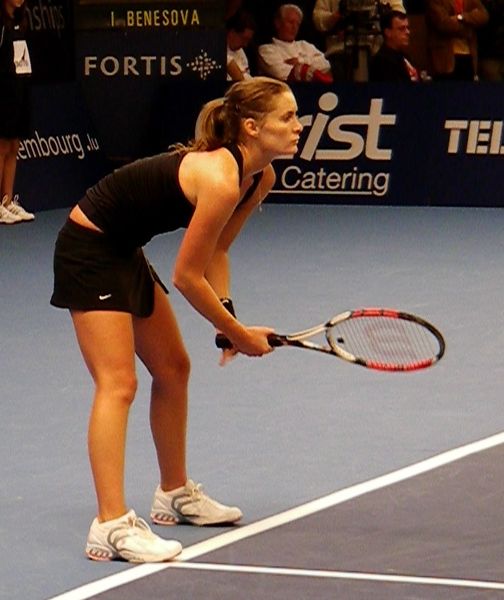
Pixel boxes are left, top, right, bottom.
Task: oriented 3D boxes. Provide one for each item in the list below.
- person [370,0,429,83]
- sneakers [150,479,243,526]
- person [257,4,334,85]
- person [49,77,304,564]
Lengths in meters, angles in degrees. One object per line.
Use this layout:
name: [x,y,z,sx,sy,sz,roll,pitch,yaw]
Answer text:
person: [1.756,-3.075,9.383,0.404,0.930,1.108,-6,25,5]
sneakers: [-0.183,0.629,2.593,0.272,0.223,0.142,1,-7,11]
person: [0.461,-3.098,9.677,0.950,1.368,0.708,14,25,43]
person: [-0.219,0.071,2.268,0.708,1.377,0.516,4,7,27]
